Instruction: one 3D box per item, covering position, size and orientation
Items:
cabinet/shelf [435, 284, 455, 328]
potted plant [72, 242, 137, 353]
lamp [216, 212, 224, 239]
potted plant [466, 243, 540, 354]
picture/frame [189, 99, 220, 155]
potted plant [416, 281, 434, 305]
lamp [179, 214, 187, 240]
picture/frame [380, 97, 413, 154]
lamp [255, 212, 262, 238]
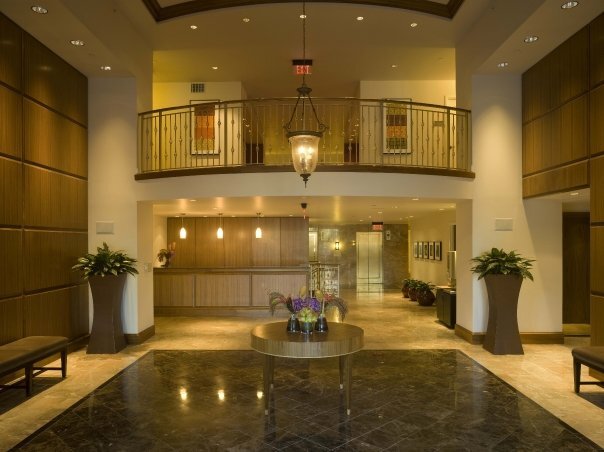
[{"bbox_3d":[3.881,2.170,11.491,0.311,0.862,0.999,0,0,-3],"label":"cabinet/shelf"},{"bbox_3d":[-4.055,1.496,9.105,1.114,1.944,0.966,0,-1,8],"label":"potted plant"},{"bbox_3d":[-2.625,0.023,13.786,0.208,0.791,0.442,-1,3,-13],"label":"lamp"},{"bbox_3d":[4.125,1.523,8.957,1.060,2.120,0.692,1,3,27],"label":"potted plant"},{"bbox_3d":[-2.793,-2.911,12.874,0.979,1.546,1.043,5,5,36],"label":"picture/frame"},{"bbox_3d":[4.081,2.287,14.432,0.607,0.719,0.543,1,3,24],"label":"potted plant"},{"bbox_3d":[-3.727,0.082,13.579,0.261,0.757,1.295,-1,3,-16],"label":"lamp"},{"bbox_3d":[2.699,-2.872,12.567,0.840,1.642,0.102,0,-7,3],"label":"picture/frame"},{"bbox_3d":[-1.357,0.009,13.500,0.207,0.832,0.827,0,3,-7],"label":"lamp"}]
